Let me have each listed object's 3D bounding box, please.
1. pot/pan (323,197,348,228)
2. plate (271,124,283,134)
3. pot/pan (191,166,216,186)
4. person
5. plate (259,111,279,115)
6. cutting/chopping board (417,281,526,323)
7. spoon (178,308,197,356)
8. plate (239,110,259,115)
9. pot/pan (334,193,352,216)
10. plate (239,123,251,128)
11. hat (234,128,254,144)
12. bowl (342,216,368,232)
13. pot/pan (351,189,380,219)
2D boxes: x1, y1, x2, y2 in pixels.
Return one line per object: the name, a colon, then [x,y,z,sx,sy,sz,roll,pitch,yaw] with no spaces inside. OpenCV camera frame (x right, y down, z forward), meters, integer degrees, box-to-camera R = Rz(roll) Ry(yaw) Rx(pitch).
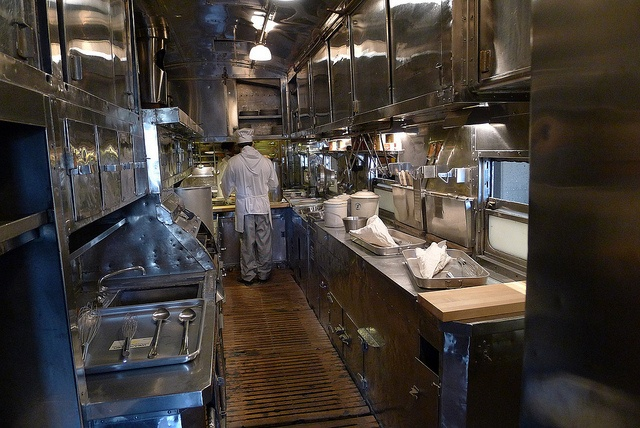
pot/pan: [0.183,0.003,4.196,0.266,0.299,0.281,2,-13,29]
plate: [-0.678,-1.330,6.796,0.133,0.094,0.134,1,8,6]
pot/pan: [-1.707,-0.553,6.330,0.251,0.313,0.458,-6,17,-20]
person: [-0.908,0.003,5.761,0.724,1.784,0.387,-4,11,-11]
plate: [-0.788,-1.573,6.761,0.127,0.042,0.128,0,5,19]
cutting/chopping board: [0.722,0.419,2.060,0.478,0.064,0.228,-5,12,-4]
spoon: [-0.643,0.563,2.102,0.065,0.034,0.309,0,16,-9]
plate: [-1.110,-1.573,6.794,0.304,0.076,0.110,-4,11,-11]
pot/pan: [0.242,-0.107,4.275,0.189,0.197,0.191,1,1,45]
plate: [-1.167,-1.373,6.754,0.131,0.091,0.131,-1,6,-20]
hat: [-1.028,-1.059,5.903,0.231,0.197,0.256,-6,11,-22]
bowl: [0.298,0.081,3.624,0.194,0.129,0.156,-3,11,-9]
pot/pan: [0.405,-0.078,3.938,0.299,0.319,0.306,0,4,-4]
